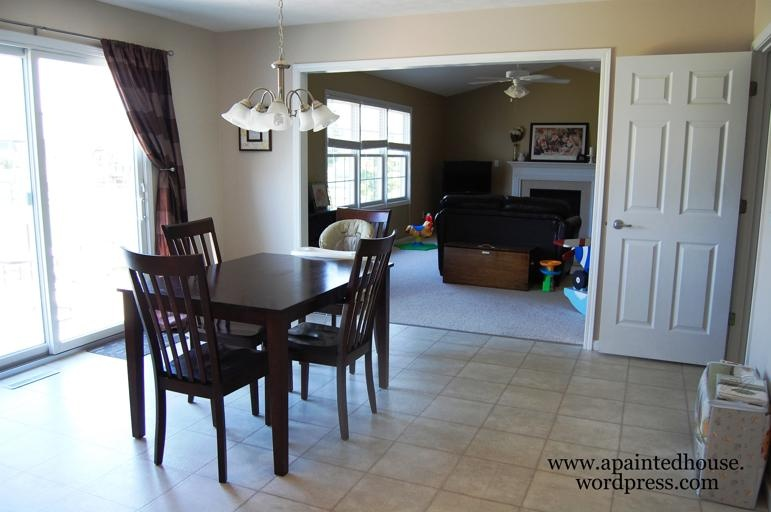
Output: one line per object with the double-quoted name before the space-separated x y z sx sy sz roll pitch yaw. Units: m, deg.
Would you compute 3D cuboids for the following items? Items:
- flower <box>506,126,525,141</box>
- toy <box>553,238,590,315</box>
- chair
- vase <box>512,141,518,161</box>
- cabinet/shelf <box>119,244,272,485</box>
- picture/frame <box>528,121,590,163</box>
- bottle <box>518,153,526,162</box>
"flower" 2.634 -2.440 10.955 0.320 0.322 0.311 4 -3 -23
"toy" 1.955 0.222 5.643 0.529 0.730 0.399 4 -4 1
"chair" -0.373 0.261 4.850 0.822 1.195 0.836 5 17 16
"vase" 2.633 -2.136 10.988 0.100 0.359 0.170 1 14 9
"cabinet/shelf" -1.247 0.631 3.659 0.773 1.456 0.953 -7 15 -26
"picture/frame" 3.443 -2.266 10.683 0.925 0.669 0.068 3 2 21
"bottle" 2.726 -2.000 10.907 0.149 0.172 0.220 5 14 22
